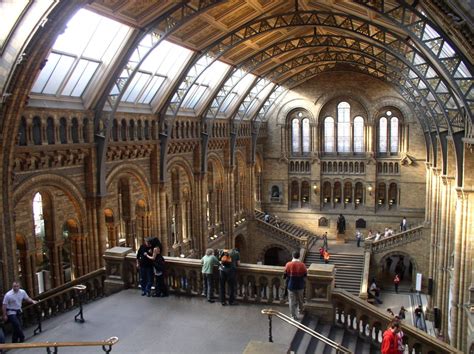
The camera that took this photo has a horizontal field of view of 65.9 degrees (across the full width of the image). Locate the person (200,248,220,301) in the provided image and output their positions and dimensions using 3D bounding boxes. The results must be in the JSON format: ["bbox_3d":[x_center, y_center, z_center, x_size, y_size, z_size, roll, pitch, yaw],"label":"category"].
[{"bbox_3d":[-0.888,3.219,12.145,0.584,1.704,0.581,-4,12,-9],"label":"person"}]

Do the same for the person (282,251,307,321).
[{"bbox_3d":[1.733,3.229,11.020,0.718,1.957,1.143,-1,12,10],"label":"person"}]

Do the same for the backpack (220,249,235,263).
[{"bbox_3d":[-0.350,2.563,11.867,0.453,0.317,0.424,2,-19,17],"label":"backpack"}]

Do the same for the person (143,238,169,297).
[{"bbox_3d":[-2.668,3.039,12.406,0.580,2.074,0.658,2,13,22],"label":"person"}]

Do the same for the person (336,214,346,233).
[{"bbox_3d":[11.579,5.279,40.863,0.759,2.203,0.450,-3,12,-1],"label":"person"}]
